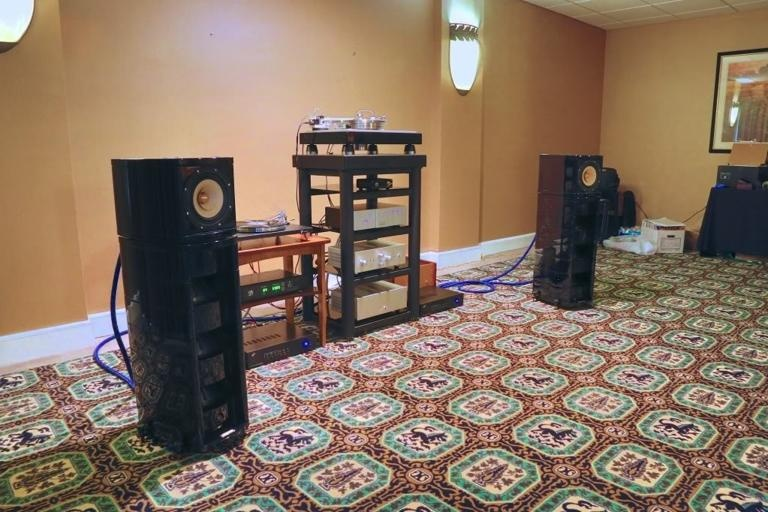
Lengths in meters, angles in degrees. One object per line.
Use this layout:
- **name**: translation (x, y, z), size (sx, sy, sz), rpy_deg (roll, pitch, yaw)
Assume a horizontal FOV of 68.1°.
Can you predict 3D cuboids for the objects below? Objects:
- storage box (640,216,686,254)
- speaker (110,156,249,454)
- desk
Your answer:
- **storage box**: translation (3.395, -0.377, 6.946), size (0.404, 0.434, 0.701), rpy_deg (2, 8, 28)
- **speaker**: translation (-1.128, 0.286, 3.249), size (0.633, 1.665, 0.512), rpy_deg (-5, 17, -17)
- **desk**: translation (-0.742, 0.260, 4.244), size (0.611, 0.710, 0.844), rpy_deg (9, 13, 43)
